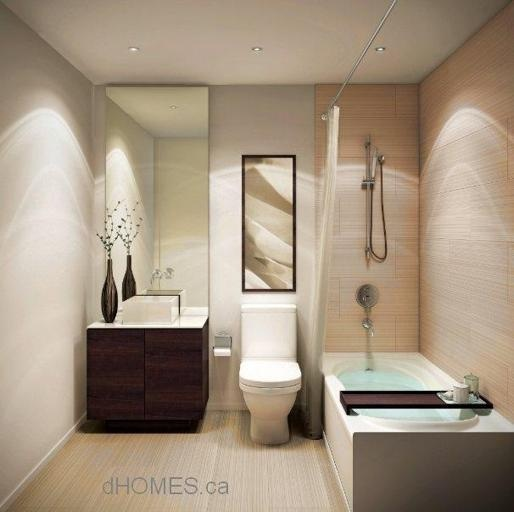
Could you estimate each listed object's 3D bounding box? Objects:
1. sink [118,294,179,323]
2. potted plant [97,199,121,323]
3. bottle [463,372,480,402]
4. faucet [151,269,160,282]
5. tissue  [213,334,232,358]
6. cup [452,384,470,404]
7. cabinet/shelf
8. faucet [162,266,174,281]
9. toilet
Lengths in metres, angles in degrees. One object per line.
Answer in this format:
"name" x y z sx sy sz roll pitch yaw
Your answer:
"sink" -0.824 0.412 3.487 0.384 0.193 0.275 1 4 6
"potted plant" -1.163 0.033 3.580 0.190 0.951 0.314 -1 4 -20
"bottle" 1.015 0.617 2.134 0.070 0.135 0.069 0 4 0
"faucet" -0.840 0.159 3.762 0.063 0.096 0.089 2 -12 -5
"tissue " -0.274 0.735 3.625 0.153 0.191 0.174 0 4 -7
"cup" 0.996 0.674 2.207 0.077 0.091 0.084 2 -2 0
"cabinet/shelf" -0.845 0.826 3.343 0.675 0.651 0.718 0 -6 -6
"faucet" -0.736 0.145 3.758 0.093 0.087 0.037 -11 -6 8
"toilet" 0.085 0.902 3.390 0.421 1.013 0.897 1 1 -1
